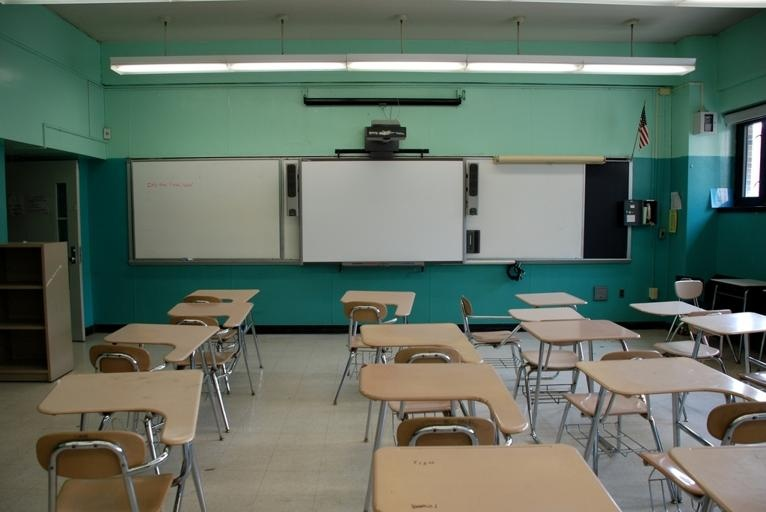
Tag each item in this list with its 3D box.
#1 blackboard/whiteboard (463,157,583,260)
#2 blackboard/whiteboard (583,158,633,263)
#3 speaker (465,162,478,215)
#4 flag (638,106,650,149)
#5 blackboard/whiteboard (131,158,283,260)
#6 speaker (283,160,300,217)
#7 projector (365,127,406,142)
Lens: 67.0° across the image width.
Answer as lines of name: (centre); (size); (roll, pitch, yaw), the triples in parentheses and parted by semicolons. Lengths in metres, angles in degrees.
blackboard/whiteboard: (2.036, -0.781, 8.718); (1.638, 1.202, 0.038); (0, 1, -3)
blackboard/whiteboard: (3.405, -0.714, 8.802); (0.698, 1.487, 0.144); (-1, 8, -2)
speaker: (1.328, -1.006, 8.658); (0.199, 0.797, 0.096); (0, 8, 7)
flag: (3.937, -1.964, 8.775); (0.170, 0.656, 0.206); (2, 8, 24)
blackboard/whiteboard: (-2.585, -0.774, 8.675); (1.615, 1.076, 0.064); (-1, 6, 1)
speaker: (-1.354, -1.008, 8.628); (0.220, 0.805, 0.114); (-2, 8, -3)
projector: (0.039, -1.786, 8.344); (0.545, 0.182, 0.129); (-2, 7, -7)
